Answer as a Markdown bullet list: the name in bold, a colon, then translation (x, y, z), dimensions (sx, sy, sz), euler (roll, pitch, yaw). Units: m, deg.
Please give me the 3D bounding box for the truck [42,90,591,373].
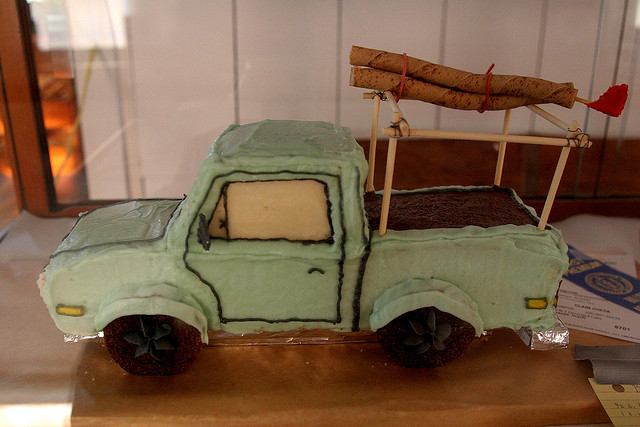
- **truck**: translation (-0.069, -0.103, 3.749), dimensions (4.108, 1.708, 1.605), euler (0, 23, -3)
